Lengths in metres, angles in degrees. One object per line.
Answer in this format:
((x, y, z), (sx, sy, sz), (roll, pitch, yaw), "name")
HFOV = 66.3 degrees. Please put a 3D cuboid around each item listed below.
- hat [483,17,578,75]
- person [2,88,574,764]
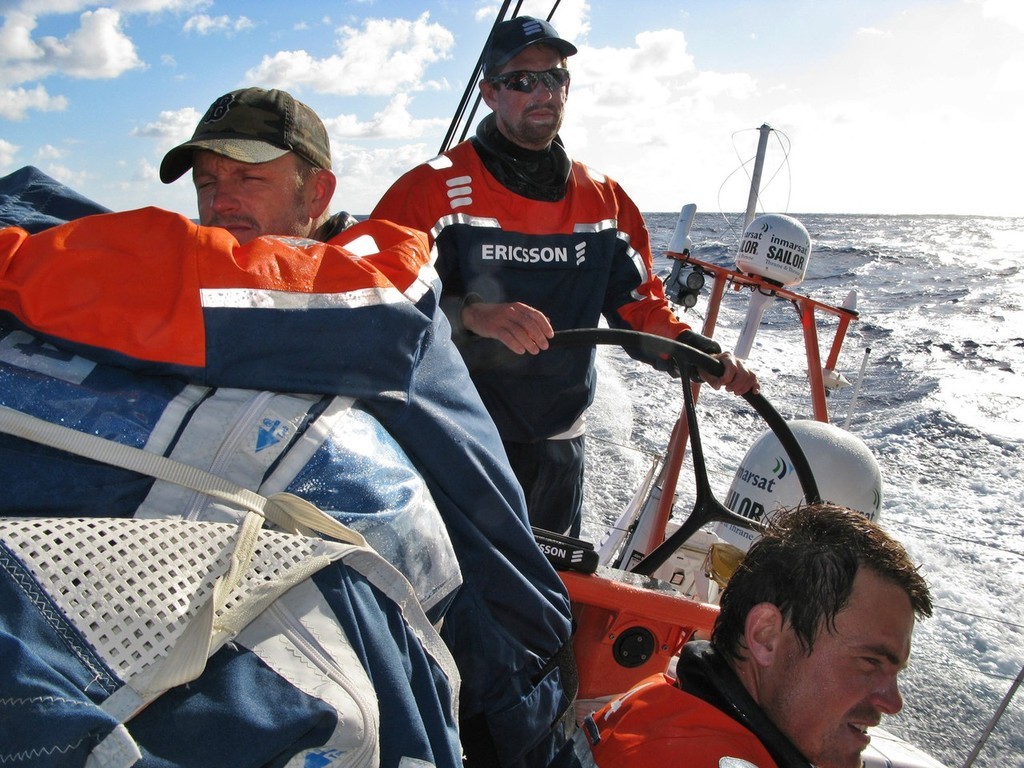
((0.021, -1.061, 2.496), (0.321, 0.183, 0.146), (11, 9, 27), "hat")
((-0.310, 0.057, 1.345), (0.913, 1.113, 0.556), (5, 9, -15), "person")
